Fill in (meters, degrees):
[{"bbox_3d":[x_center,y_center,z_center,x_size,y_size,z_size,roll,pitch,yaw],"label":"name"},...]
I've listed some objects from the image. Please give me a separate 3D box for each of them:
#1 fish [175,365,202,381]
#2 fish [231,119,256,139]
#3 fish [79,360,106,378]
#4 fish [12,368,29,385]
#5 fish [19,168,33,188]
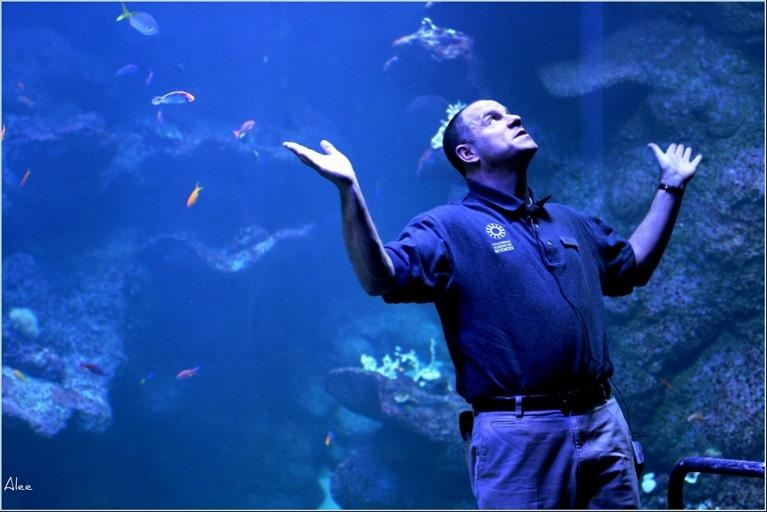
[{"bbox_3d":[-3.650,2.182,16.821,0.477,0.212,0.093,-15,-23,-4],"label":"fish"},{"bbox_3d":[-2.807,-2.495,17.856,0.152,0.226,0.549,-4,32,36],"label":"fish"},{"bbox_3d":[-5.416,2.084,16.687,0.427,0.291,0.414,-11,0,-6],"label":"fish"},{"bbox_3d":[-6.688,2.208,16.655,0.247,0.300,0.054,-11,0,2],"label":"fish"},{"bbox_3d":[-6.818,-1.480,17.200,0.440,0.122,0.134,-55,17,-17],"label":"fish"}]
